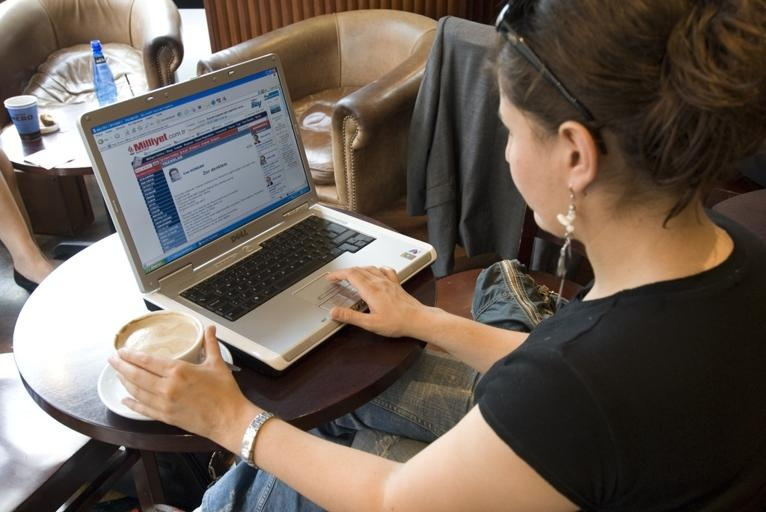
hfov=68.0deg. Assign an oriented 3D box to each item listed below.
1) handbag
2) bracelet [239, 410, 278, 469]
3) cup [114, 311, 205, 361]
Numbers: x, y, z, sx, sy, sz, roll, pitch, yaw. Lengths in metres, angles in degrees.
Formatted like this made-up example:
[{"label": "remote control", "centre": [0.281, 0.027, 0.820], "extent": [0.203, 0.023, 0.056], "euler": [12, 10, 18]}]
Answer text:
[{"label": "handbag", "centre": [0.352, 0.098, 1.474], "extent": [0.201, 0.084, 0.197], "euler": [-21, 39, -18]}, {"label": "bracelet", "centre": [-0.213, 0.317, 0.975], "extent": [0.066, 0.058, 0.065], "euler": [37, 34, 12]}, {"label": "cup", "centre": [-0.404, 0.147, 1.037], "extent": [0.111, 0.069, 0.108], "euler": [1, 38, -1]}]
